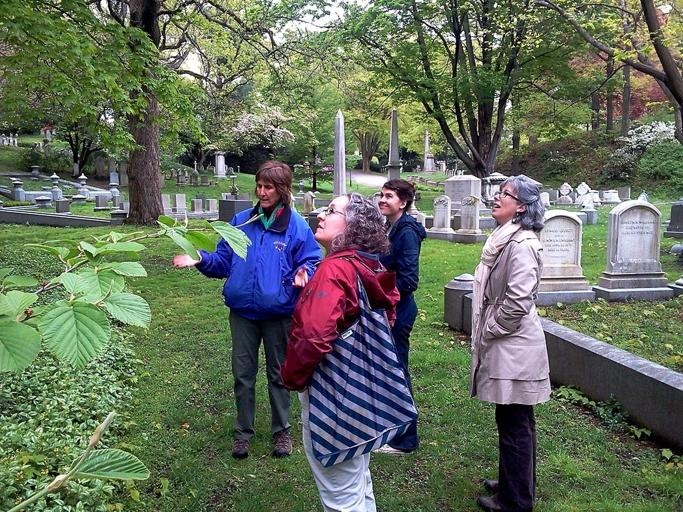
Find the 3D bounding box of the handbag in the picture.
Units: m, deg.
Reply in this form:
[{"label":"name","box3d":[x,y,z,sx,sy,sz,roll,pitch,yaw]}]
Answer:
[{"label":"handbag","box3d":[0.124,0.778,3.569,0.743,1.084,0.299,-16,14,-17]}]

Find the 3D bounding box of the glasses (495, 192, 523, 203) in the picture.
[{"label":"glasses","box3d":[1.374,-0.486,4.376,0.114,0.033,0.116,22,-5,-18]}]
